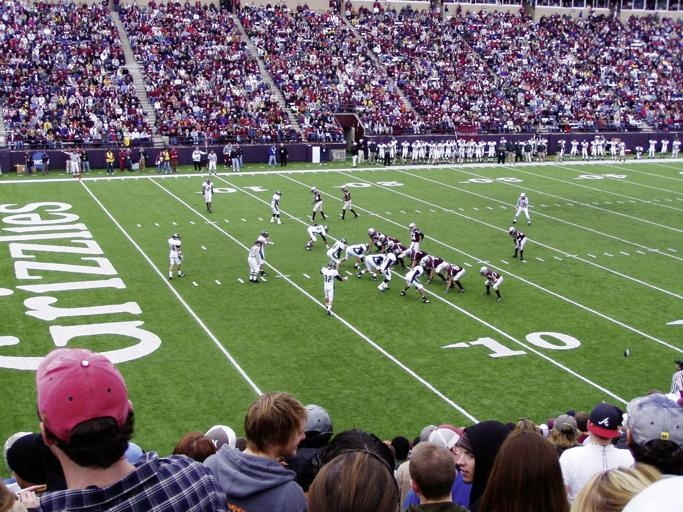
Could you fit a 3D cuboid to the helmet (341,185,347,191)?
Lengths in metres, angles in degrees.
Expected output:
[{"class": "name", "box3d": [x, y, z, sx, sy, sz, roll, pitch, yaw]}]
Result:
[{"class": "helmet", "box3d": [0.079, -2.183, 25.309, 0.209, 0.269, 0.277, 6, 2, 3]}]

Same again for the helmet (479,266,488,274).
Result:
[{"class": "helmet", "box3d": [3.011, 0.286, 17.179, 0.152, 0.190, 0.202, -3, -3, 15]}]

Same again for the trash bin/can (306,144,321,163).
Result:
[{"class": "trash bin/can", "box3d": [-1.322, -4.995, 38.988, 0.796, 0.967, 0.746, -7, 16, -33]}]

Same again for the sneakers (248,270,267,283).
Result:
[{"class": "sneakers", "box3d": [-1.898, 0.446, 18.530, 0.180, 0.237, 0.601, 15, 23, 32]}]

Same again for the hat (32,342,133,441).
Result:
[{"class": "hat", "box3d": [-1.516, 0.804, 4.662, 0.394, 0.313, 0.574, -7, 40, -30]}]

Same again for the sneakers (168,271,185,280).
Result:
[{"class": "sneakers", "box3d": [-3.806, 0.414, 18.587, 0.149, 0.194, 0.455, 4, 17, 15]}]

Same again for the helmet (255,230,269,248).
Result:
[{"class": "helmet", "box3d": [-1.978, -0.431, 20.031, 0.220, 0.562, 0.301, 6, 26, -3]}]
